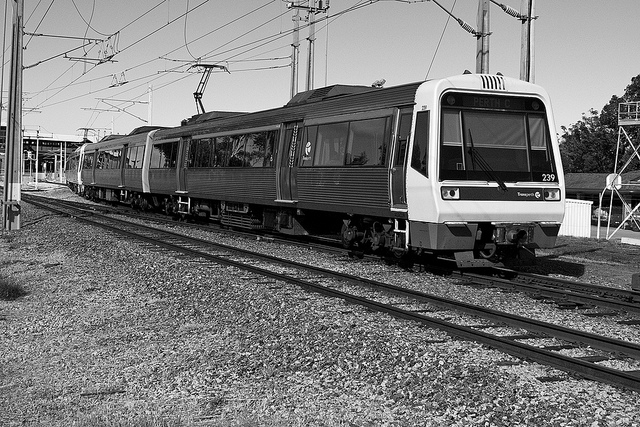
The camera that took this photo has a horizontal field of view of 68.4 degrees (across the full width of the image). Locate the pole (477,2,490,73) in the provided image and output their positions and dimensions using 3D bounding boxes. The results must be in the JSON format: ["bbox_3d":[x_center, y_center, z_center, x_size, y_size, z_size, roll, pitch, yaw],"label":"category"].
[{"bbox_3d":[5.679,-6.210,16.381,0.362,2.496,0.782,0,6,17],"label":"pole"}]
